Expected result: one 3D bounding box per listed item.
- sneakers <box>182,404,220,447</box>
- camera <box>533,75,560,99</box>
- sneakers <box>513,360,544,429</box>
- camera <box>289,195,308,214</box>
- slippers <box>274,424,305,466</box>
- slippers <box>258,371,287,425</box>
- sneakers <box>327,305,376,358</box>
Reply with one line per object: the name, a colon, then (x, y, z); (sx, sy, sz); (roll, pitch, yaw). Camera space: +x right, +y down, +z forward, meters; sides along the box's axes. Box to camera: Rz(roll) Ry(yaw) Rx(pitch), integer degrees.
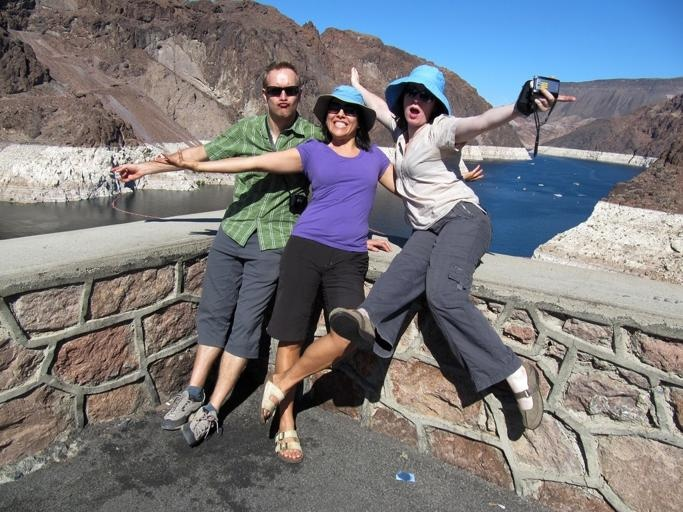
sneakers: (-0.793, 0.965, 2.240); (0.122, 0.117, 0.293); (-21, 14, 4)
camera: (1.038, -0.875, 1.955); (0.123, 0.093, 0.256); (22, 24, 31)
sneakers: (0.901, 0.704, 1.903); (0.113, 0.351, 0.122); (2, -13, -28)
camera: (-0.281, -0.347, 2.482); (0.099, 0.130, 0.042); (5, 5, -26)
slippers: (-0.294, 1.071, 2.181); (0.162, 0.123, 0.195); (5, 21, -12)
slippers: (-0.384, 0.795, 2.171); (0.124, 0.299, 0.100); (5, -22, 10)
sneakers: (0.077, 0.371, 1.985); (0.141, 0.250, 0.170); (-30, 17, 37)
